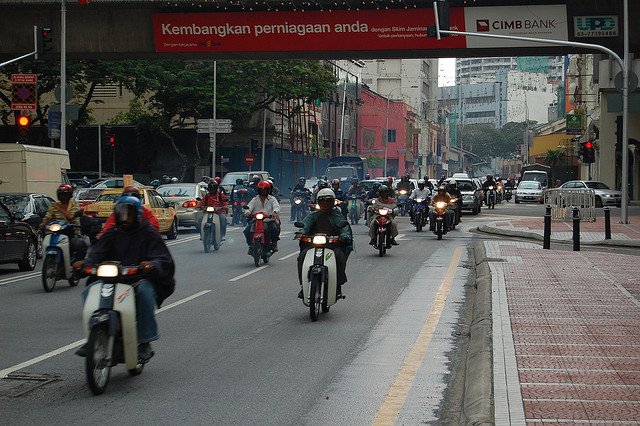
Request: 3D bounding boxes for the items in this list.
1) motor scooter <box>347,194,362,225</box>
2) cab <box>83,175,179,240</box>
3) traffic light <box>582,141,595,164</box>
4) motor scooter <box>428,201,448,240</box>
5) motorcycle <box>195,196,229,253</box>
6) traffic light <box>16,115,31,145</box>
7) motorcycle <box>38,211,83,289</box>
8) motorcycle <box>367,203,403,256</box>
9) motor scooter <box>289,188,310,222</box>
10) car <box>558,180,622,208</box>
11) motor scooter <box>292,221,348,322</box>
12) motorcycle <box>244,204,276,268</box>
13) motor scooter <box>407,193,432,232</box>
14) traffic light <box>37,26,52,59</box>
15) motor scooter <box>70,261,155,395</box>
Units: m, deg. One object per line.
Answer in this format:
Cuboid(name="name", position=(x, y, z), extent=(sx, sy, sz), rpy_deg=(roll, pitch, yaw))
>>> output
Cuboid(name="motor scooter", position=(1.592, -0.140, 32.547), extent=(0.573, 1.414, 1.237), rpy_deg=(-1, 6, 4))
Cuboid(name="cab", position=(-6.516, 0.033, 24.998), extent=(2.459, 1.899, 3.985), rpy_deg=(-1, 2, 8))
Cuboid(name="traffic light", position=(14.387, -3.309, 37.423), extent=(0.527, 1.088, 1.524), rpy_deg=(0, 7, 17))
Cuboid(name="motor scooter", position=(4.388, 0.263, 25.548), extent=(0.559, 1.337, 0.929), rpy_deg=(-1, 6, 10))
Cuboid(name="motorcycle", position=(-3.303, 0.409, 21.612), extent=(0.831, 1.644, 1.301), rpy_deg=(-3, 6, -12))
Cuboid(name="traffic light", position=(-10.871, -3.084, 25.532), extent=(0.451, 1.086, 1.559), rpy_deg=(-5, 7, -24))
Cuboid(name="motorcycle", position=(-5.661, 0.816, 15.418), extent=(1.121, 1.654, 2.108), rpy_deg=(-1, -4, -1))
Cuboid(name="motorcycle", position=(1.957, 0.553, 20.865), extent=(0.678, 1.420, 1.083), rpy_deg=(-1, 6, 5))
Cuboid(name="motor scooter", position=(-0.946, -0.313, 32.114), extent=(0.553, 1.474, 1.420), rpy_deg=(-3, 6, -11))
Cuboid(name="car", position=(17.688, -1.223, 44.673), extent=(2.704, 1.379, 5.650), rpy_deg=(0, 6, 14))
Cuboid(name="motor scooter", position=(0.082, 0.995, 12.776), extent=(0.988, 1.727, 2.183), rpy_deg=(1, -1, 10))
Cuboid(name="motorcycle", position=(-1.598, 0.603, 18.497), extent=(0.902, 1.653, 0.777), rpy_deg=(-6, 8, -37))
Cuboid(name="motor scooter", position=(4.171, 0.031, 28.989), extent=(0.651, 1.451, 0.762), rpy_deg=(-1, 6, 8))
Cuboid(name="traffic light", position=(-10.728, -6.702, 27.089), extent=(0.525, 1.168, 1.991), rpy_deg=(-4, 7, -22))
Cuboid(name="motor scooter", position=(-2.623, 1.406, 9.262), extent=(0.996, 1.544, 2.587), rpy_deg=(-2, -5, 1))
